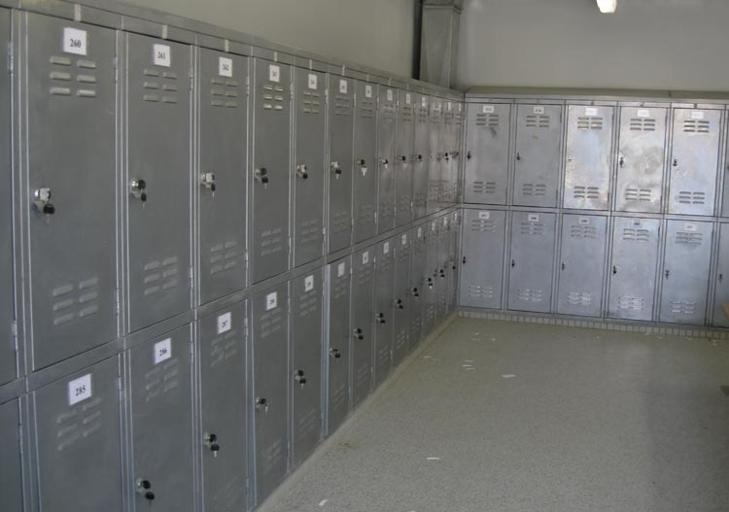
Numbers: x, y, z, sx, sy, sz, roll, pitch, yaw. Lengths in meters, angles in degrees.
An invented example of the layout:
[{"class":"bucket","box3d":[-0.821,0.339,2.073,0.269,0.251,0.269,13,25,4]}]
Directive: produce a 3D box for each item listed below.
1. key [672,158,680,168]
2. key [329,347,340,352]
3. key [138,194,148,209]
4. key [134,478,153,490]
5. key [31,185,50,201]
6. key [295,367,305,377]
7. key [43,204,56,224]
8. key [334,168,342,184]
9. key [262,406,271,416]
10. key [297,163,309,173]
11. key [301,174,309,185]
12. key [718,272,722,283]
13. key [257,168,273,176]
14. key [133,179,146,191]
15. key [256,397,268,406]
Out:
[{"class":"key","box3d":[3.260,-0.988,6.329,0.091,0.133,0.014,1,3,6]},{"class":"key","box3d":[-0.219,0.629,4.071,0.036,0.031,0.063,1,-12,2]},{"class":"key","box3d":[-0.916,-0.228,2.482,0.030,0.067,0.051,-4,14,-18]},{"class":"key","box3d":[-0.960,0.978,2.602,0.054,0.021,0.043,0,8,12]},{"class":"key","box3d":[-1.143,-0.217,2.118,0.012,0.037,0.049,6,3,35]},{"class":"key","box3d":[-0.402,0.699,3.662,0.030,0.056,0.052,4,-1,16]},{"class":"key","box3d":[-1.126,-0.148,2.147,0.036,0.074,0.057,-5,14,-23]},{"class":"key","box3d":[-0.181,-0.527,3.919,0.043,0.075,0.071,0,0,-3]},{"class":"key","box3d":[-0.559,0.867,3.381,0.040,0.054,0.041,1,5,-8]},{"class":"key","box3d":[-0.365,-0.511,3.517,0.048,0.048,0.047,0,-9,-37]},{"class":"key","box3d":[-0.360,-0.458,3.561,0.028,0.050,0.049,-2,37,-3]},{"class":"key","box3d":[3.745,0.230,6.376,0.047,0.098,0.015,3,13,10]},{"class":"key","box3d":[-0.536,-0.446,3.169,0.069,0.064,0.039,-9,19,-40]},{"class":"key","box3d":[-0.915,-0.289,2.454,0.033,0.049,0.068,5,14,19]},{"class":"key","box3d":[-0.572,0.800,3.320,0.047,0.026,0.038,8,10,28]}]
